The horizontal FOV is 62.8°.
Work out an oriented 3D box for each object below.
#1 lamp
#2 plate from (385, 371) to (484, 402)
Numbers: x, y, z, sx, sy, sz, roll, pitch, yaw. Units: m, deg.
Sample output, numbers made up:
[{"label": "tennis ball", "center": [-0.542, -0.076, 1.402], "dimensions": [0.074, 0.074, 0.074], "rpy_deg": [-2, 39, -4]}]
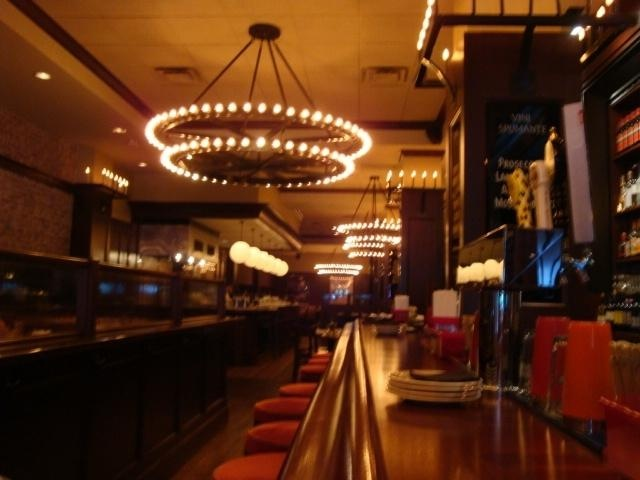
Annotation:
[{"label": "lamp", "center": [-0.681, -1.269, 6.005], "dimensions": [1.979, 1.496, 2.201], "rpy_deg": [-3, -18, 11]}, {"label": "plate", "center": [0.403, 0.525, 1.873], "dimensions": [0.324, 0.104, 0.191], "rpy_deg": [-2, -8, 6]}]
